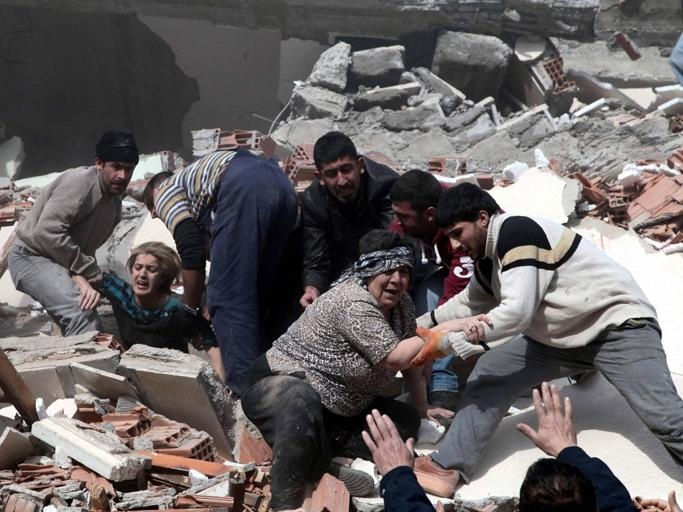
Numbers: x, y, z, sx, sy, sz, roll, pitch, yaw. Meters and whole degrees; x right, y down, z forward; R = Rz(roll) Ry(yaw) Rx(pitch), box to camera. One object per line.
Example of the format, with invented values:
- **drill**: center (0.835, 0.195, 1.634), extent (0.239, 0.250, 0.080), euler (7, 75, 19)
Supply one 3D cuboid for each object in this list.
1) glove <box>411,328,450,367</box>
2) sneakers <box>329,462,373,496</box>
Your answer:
- **glove**: center (0.521, 0.539, 3.888), extent (0.246, 0.166, 0.195), euler (-6, 20, -9)
- **sneakers**: center (0.067, 1.384, 4.011), extent (0.237, 0.088, 0.178), euler (32, 7, 15)
